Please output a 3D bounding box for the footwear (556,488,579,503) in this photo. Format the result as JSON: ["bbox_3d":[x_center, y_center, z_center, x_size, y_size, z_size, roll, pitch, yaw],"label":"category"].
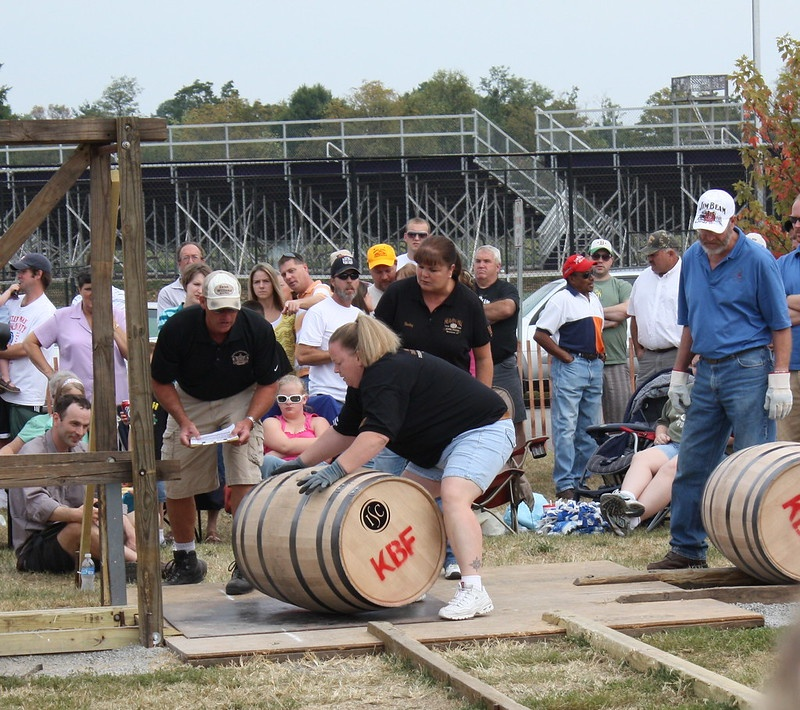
[{"bbox_3d":[1.358,1.171,13.509,0.216,0.155,0.074,-12,-10,38],"label":"footwear"}]

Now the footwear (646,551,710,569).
[{"bbox_3d":[1.782,1.340,10.547,0.419,0.176,0.144,1,-5,0],"label":"footwear"}]

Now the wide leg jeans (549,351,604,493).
[{"bbox_3d":[1.441,0.584,13.784,0.381,1.125,0.570,-1,0,35],"label":"wide leg jeans"}]

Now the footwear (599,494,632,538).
[{"bbox_3d":[1.599,1.177,12.100,0.160,0.406,0.189,-20,17,19],"label":"footwear"}]

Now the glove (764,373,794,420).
[{"bbox_3d":[2.347,0.261,10.239,0.153,0.302,0.217,-1,0,-2],"label":"glove"}]

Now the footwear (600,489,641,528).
[{"bbox_3d":[1.632,1.159,12.098,0.312,0.304,0.314,-1,-1,7],"label":"footwear"}]

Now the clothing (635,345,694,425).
[{"bbox_3d":[2.104,0.259,13.687,0.556,0.737,0.333,0,0,3],"label":"clothing"}]

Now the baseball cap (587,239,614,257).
[{"bbox_3d":[1.833,-1.014,15.060,0.190,0.143,0.291,1,-1,3],"label":"baseball cap"}]

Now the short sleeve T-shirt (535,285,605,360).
[{"bbox_3d":[1.500,-0.276,13.967,0.769,0.604,0.433,0,0,-39],"label":"short sleeve T-shirt"}]

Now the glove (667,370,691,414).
[{"bbox_3d":[1.891,0.239,11.146,0.200,0.286,0.261,1,17,10],"label":"glove"}]

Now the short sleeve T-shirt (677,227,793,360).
[{"bbox_3d":[2.095,-0.413,10.527,0.478,0.843,0.900,-6,6,-43],"label":"short sleeve T-shirt"}]

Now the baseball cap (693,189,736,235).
[{"bbox_3d":[1.967,-0.912,10.318,0.247,0.286,0.256,-1,-1,9],"label":"baseball cap"}]
